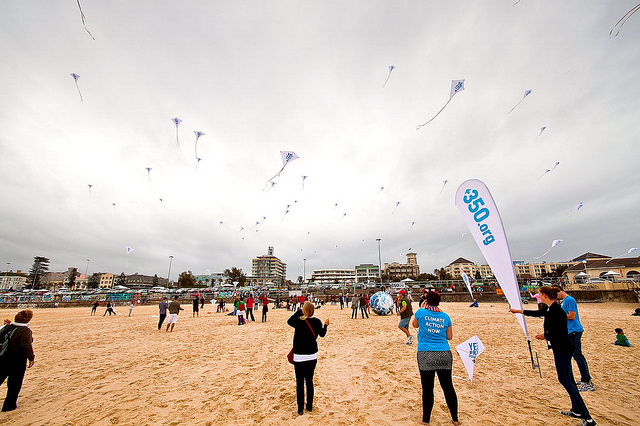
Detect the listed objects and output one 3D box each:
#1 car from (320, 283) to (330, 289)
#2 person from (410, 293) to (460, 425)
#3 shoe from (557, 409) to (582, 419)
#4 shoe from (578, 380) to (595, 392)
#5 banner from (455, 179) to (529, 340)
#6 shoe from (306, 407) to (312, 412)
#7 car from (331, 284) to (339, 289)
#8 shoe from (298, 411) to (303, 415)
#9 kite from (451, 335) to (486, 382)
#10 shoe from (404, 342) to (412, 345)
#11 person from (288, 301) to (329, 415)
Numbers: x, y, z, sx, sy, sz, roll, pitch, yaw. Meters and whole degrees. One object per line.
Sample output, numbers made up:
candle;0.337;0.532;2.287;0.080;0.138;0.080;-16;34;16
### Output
car;1.594;16.346;66.034;1.430;1.287;4.785;-3;-18;2
person;2.758;3.543;7.436;0.851;2.867;1.136;-6;-19;11
shoe;6.343;5.415;7.943;0.169;0.198;0.494;20;-16;-40
shoe;7.656;5.312;9.022;0.482;0.273;0.282;-7;-19;15
banner;5.284;0.965;9.637;1.213;4.149;0.995;7;-21;-25
shoe;-0.225;5.494;8.238;0.147;0.086;0.058;-1;-19;-4
car;3.483;15.815;63.361;1.540;1.097;2.810;-3;-18;1
shoe;-0.448;5.509;8.110;0.103;0.022;0.094;1;-5;5
kite;4.155;4.146;8.443;0.585;1.202;0.505;-16;-23;34
shoe;3.797;5.872;13.277;0.327;0.099;0.345;-11;-20;24
person;-0.265;3.973;8.055;0.863;2.926;1.415;-2;-19;0
